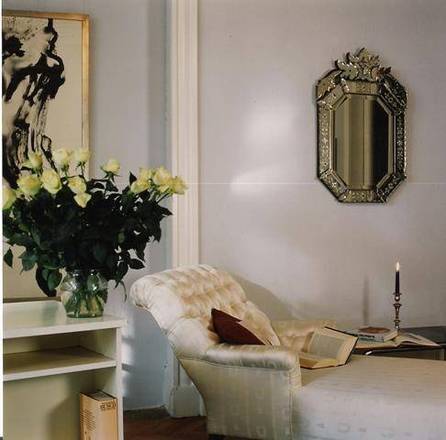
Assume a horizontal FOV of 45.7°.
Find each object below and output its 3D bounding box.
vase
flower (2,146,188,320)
[{"bbox_3d":[-0.463,0.238,1.769,0.147,0.160,0.154,1,0,-17],"label":"vase"},{"bbox_3d":[-0.425,0.028,1.875,0.499,0.639,0.625,3,6,9],"label":"flower"}]
